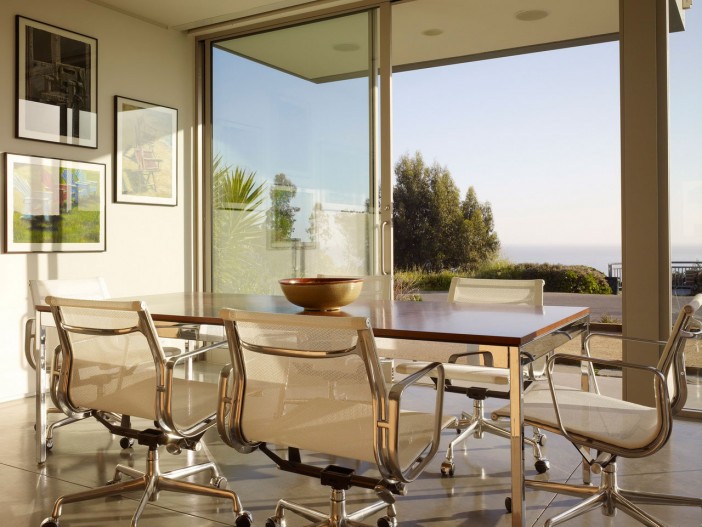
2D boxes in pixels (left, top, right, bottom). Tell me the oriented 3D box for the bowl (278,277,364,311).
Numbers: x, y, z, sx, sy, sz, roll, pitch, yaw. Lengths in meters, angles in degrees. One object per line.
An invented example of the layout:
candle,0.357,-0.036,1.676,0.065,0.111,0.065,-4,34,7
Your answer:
bowl,-0.197,0.167,3.198,0.402,0.162,0.419,2,3,0

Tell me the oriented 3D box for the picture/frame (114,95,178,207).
picture/frame,-1.990,-1.063,5.685,0.127,0.981,0.770,2,5,24

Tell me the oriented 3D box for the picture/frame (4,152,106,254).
picture/frame,-2.506,-0.501,4.892,0.031,0.777,0.910,4,4,34

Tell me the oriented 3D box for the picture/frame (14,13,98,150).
picture/frame,-2.476,-1.501,4.963,0.100,0.988,0.754,3,6,32
